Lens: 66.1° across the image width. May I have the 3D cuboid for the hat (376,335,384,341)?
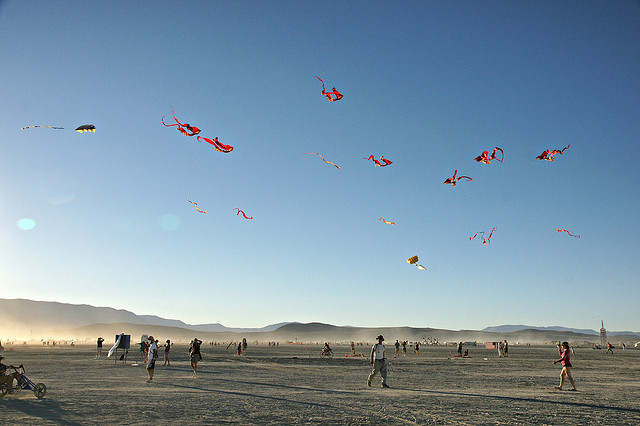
[{"bbox_3d":[3.369,6.991,27.544,0.367,0.248,0.518,4,-17,-9],"label":"hat"}]
